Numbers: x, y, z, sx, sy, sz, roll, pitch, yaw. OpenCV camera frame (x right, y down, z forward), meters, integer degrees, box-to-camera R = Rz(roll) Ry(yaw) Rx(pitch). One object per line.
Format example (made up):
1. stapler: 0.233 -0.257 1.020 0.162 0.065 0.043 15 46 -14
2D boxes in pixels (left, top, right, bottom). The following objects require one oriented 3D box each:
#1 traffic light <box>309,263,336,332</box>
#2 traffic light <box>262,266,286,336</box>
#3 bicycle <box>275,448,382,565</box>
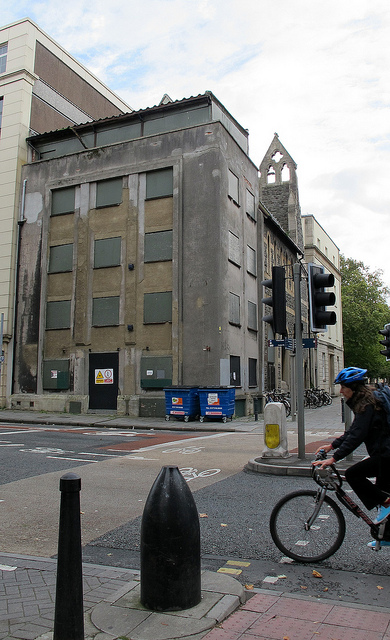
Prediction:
1. traffic light: 2.065 -0.396 8.561 0.427 1.134 0.750 -4 -8 12
2. traffic light: 1.373 -0.325 8.882 0.371 1.133 0.521 -1 -8 -5
3. bicycle: 0.982 1.628 4.465 1.006 0.726 0.619 -3 -12 11
